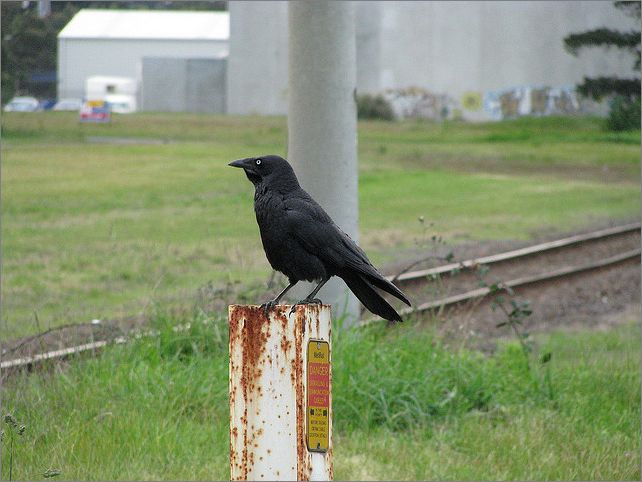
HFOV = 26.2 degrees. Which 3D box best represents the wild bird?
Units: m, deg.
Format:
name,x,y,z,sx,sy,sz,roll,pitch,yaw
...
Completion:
name,x,y,z,sx,sy,sz,roll,pitch,yaw
wild bird,-0.089,-0.005,10.863,1.207,1.327,0.474,-2,5,-2
